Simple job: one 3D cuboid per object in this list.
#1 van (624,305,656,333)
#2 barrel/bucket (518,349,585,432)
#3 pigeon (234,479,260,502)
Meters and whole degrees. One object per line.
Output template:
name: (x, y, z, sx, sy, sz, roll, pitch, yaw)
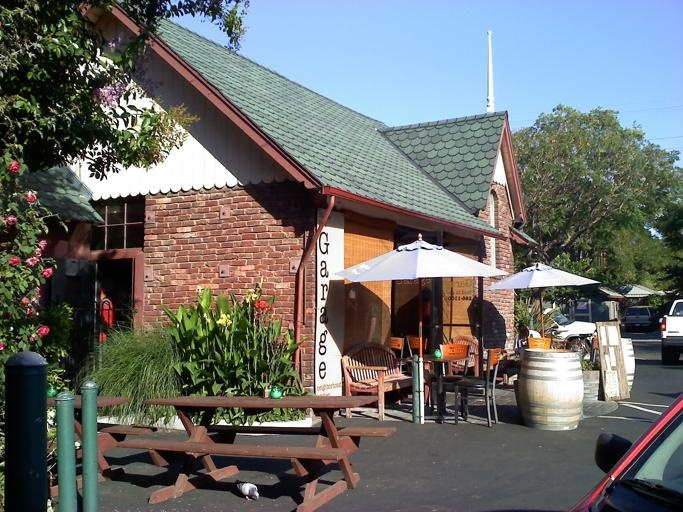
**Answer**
van: (22.762, 4.867, 47.705, 1.849, 1.924, 1.843, -1, -2, 24)
barrel/bucket: (3.535, 2.209, 10.617, 1.032, 1.345, 1.162, -1, 1, -2)
pigeon: (-1.070, 2.710, 7.214, 0.131, 0.177, 0.369, 5, 3, -28)
